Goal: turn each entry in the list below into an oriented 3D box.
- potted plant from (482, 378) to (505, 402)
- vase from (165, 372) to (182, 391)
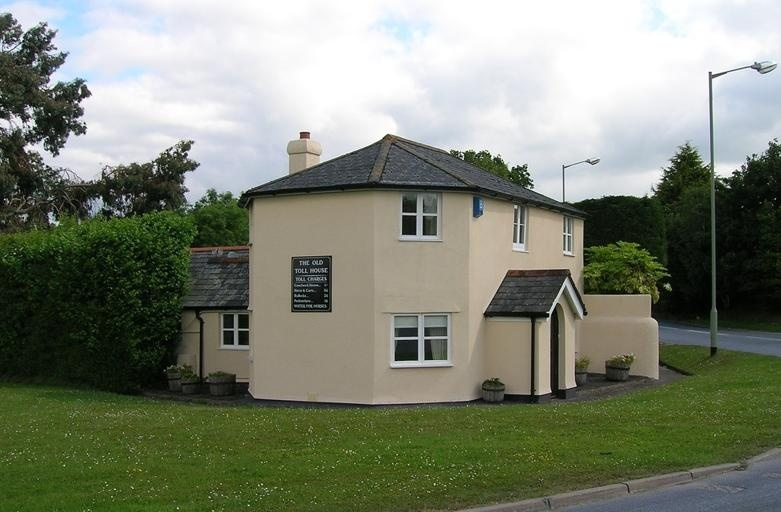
[{"bbox_3d":[4.297,5.694,33.371,1.014,0.987,0.869,2,2,29],"label":"potted plant"},{"bbox_3d":[-10.033,5.885,36.728,0.763,0.719,0.823,-1,-5,3],"label":"vase"}]
